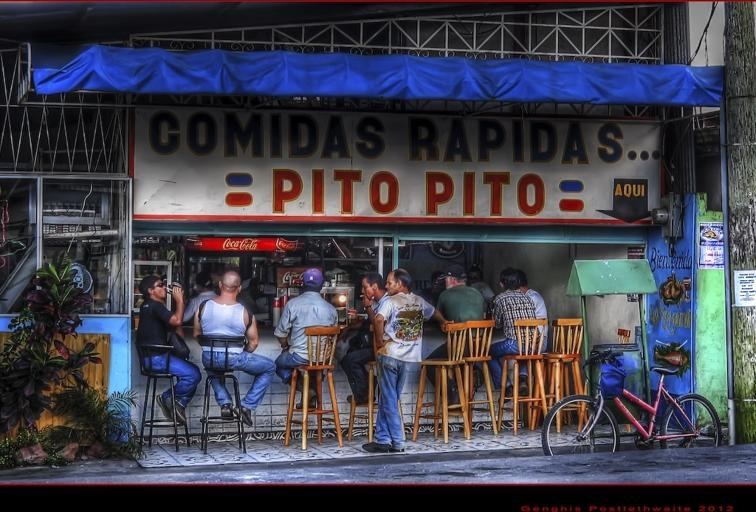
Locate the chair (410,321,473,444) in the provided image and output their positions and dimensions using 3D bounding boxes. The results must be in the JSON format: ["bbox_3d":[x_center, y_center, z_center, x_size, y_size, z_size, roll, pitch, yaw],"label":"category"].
[{"bbox_3d":[0.953,1.843,14.575,0.702,1.695,0.699,-3,-7,35],"label":"chair"}]

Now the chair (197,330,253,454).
[{"bbox_3d":[-2.222,1.993,14.181,0.701,1.634,0.894,1,-11,-9],"label":"chair"}]

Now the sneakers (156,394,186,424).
[{"bbox_3d":[-2.942,2.176,14.128,0.162,0.447,0.189,-38,14,13],"label":"sneakers"}]

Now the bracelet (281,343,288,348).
[{"bbox_3d":[-1.360,1.299,14.391,0.076,0.082,0.084,27,-18,6],"label":"bracelet"}]

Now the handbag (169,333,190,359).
[{"bbox_3d":[-2.850,1.284,14.180,0.108,0.370,0.273,-36,-22,18],"label":"handbag"}]

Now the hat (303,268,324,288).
[{"bbox_3d":[-0.952,0.329,14.507,0.210,0.182,0.307,3,26,-2],"label":"hat"}]

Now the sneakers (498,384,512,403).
[{"bbox_3d":[1.958,2.106,15.103,0.243,0.278,0.190,-3,-2,35],"label":"sneakers"}]

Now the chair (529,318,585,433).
[{"bbox_3d":[2.782,1.789,15.337,0.899,1.729,0.906,-3,0,-2],"label":"chair"}]

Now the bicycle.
[{"bbox_3d":[3.524,2.044,14.087,2.739,1.598,1.361,1,-7,-9],"label":"bicycle"}]

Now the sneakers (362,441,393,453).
[{"bbox_3d":[-0.016,2.669,13.903,0.436,0.174,0.162,3,1,30],"label":"sneakers"}]

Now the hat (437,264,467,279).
[{"bbox_3d":[1.171,0.258,15.227,0.300,0.175,0.212,12,7,24],"label":"hat"}]

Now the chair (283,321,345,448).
[{"bbox_3d":[-0.941,1.874,14.200,0.738,1.734,0.745,1,-5,-21],"label":"chair"}]

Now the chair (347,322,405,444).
[{"bbox_3d":[0.024,1.834,14.079,0.643,1.848,1.022,2,-11,-13],"label":"chair"}]

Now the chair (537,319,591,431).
[{"bbox_3d":[2.898,1.671,15.195,0.581,1.222,0.611,-22,22,-40],"label":"chair"}]
